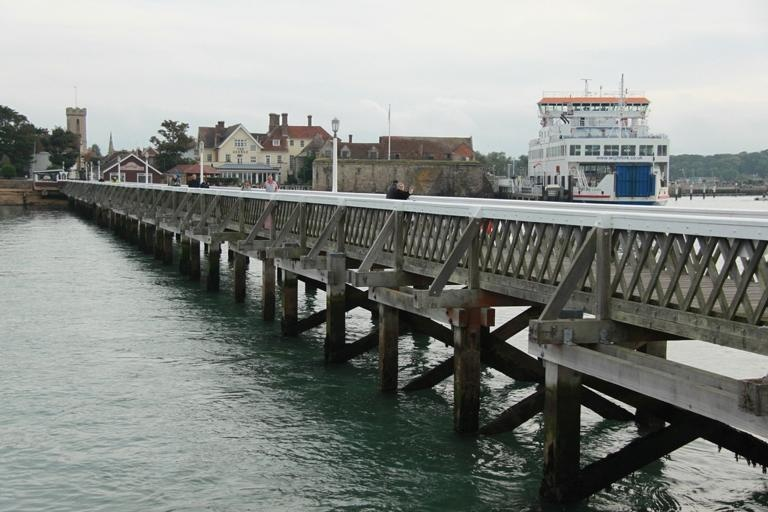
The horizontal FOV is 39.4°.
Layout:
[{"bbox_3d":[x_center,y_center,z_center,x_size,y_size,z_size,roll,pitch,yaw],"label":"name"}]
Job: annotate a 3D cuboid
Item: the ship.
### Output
[{"bbox_3d":[18.004,-9.269,88.685,7.587,9.372,13.930,0,7,-21],"label":"ship"}]
